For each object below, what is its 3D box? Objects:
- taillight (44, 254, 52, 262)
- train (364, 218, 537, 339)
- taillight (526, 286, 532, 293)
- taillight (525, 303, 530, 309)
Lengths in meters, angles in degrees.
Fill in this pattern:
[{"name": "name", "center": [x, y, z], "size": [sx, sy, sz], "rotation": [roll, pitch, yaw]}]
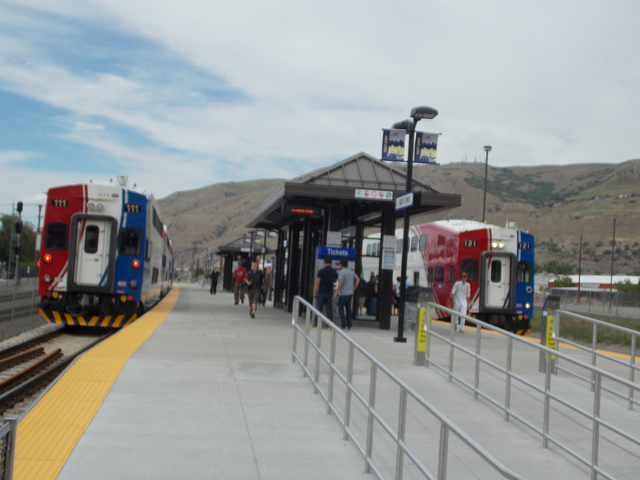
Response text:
[{"name": "taillight", "center": [-8.047, 0.562, 16.632], "size": [0.166, 0.193, 0.171], "rotation": [4, -16, -9]}, {"name": "train", "center": [6.580, 1.510, 25.432], "size": [2.900, 4.990, 5.588], "rotation": [2, -1, -24]}, {"name": "taillight", "center": [8.729, 2.102, 23.476], "size": [0.209, 0.245, 0.083], "rotation": [3, -7, 0]}, {"name": "taillight", "center": [8.692, 2.777, 23.470], "size": [0.168, 0.196, 0.043], "rotation": [-1, -5, -12]}]
